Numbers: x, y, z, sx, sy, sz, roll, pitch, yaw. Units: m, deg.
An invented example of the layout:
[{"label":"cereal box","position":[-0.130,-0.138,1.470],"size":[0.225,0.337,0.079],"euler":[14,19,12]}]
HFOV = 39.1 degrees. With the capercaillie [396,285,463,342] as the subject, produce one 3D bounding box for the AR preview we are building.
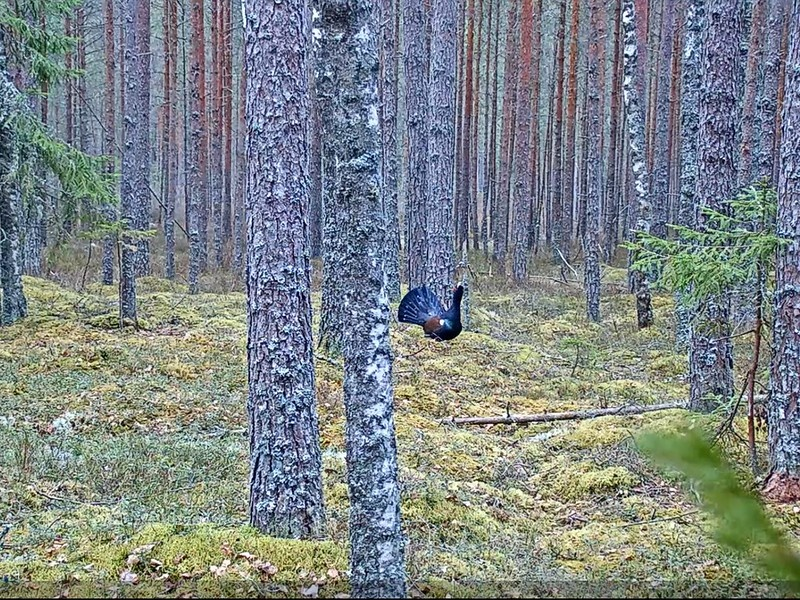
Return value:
[{"label":"capercaillie","position":[0.757,0.285,22.808],"size":[1.355,1.154,0.781],"euler":[2,-14,45]}]
